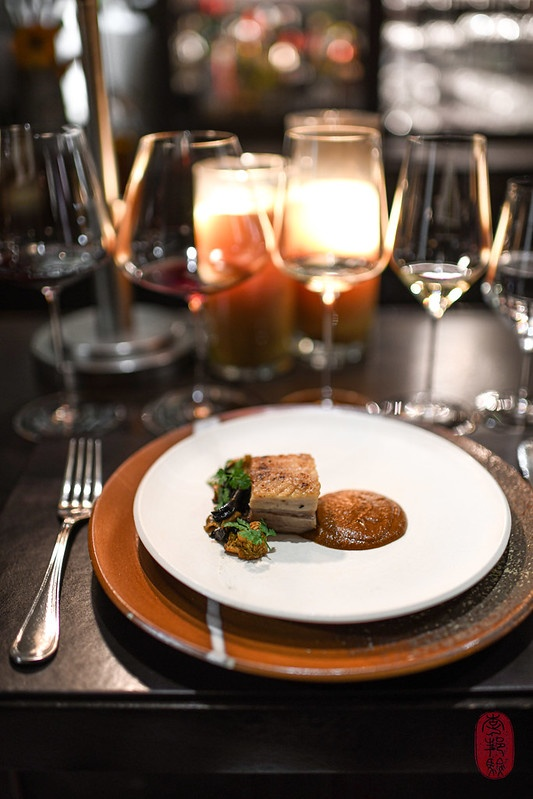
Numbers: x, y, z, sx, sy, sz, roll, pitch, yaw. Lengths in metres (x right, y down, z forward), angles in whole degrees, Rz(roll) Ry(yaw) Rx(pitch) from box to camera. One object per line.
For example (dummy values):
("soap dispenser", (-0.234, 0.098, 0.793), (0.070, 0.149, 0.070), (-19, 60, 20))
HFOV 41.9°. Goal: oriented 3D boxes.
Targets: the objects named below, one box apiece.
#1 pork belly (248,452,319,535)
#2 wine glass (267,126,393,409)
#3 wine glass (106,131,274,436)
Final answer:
("pork belly", (0.009, 0.060, 0.477), (0.041, 0.019, 0.072), (-1, 20, 0))
("wine glass", (0.062, -0.132, 0.706), (0.122, 0.270, 0.200), (2, 24, 7))
("wine glass", (-0.073, -0.113, 0.671), (0.124, 0.270, 0.161), (14, 28, 30))
